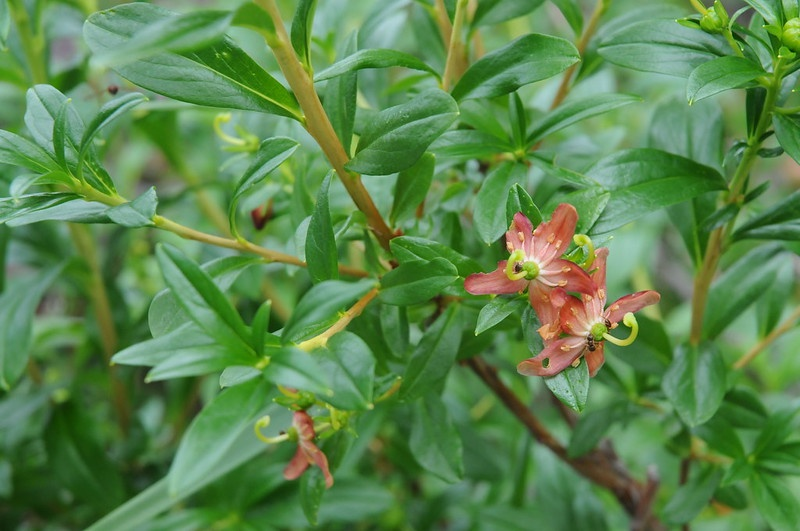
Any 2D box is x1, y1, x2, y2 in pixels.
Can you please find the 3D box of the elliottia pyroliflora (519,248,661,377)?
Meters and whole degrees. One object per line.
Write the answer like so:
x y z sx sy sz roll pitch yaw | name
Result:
0.253 0.077 0.923 0.177 0.065 0.153 -10 13 11 | elliottia pyroliflora

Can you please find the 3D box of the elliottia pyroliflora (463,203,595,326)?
0.170 -0.005 0.924 0.164 0.108 0.113 8 47 1 | elliottia pyroliflora
